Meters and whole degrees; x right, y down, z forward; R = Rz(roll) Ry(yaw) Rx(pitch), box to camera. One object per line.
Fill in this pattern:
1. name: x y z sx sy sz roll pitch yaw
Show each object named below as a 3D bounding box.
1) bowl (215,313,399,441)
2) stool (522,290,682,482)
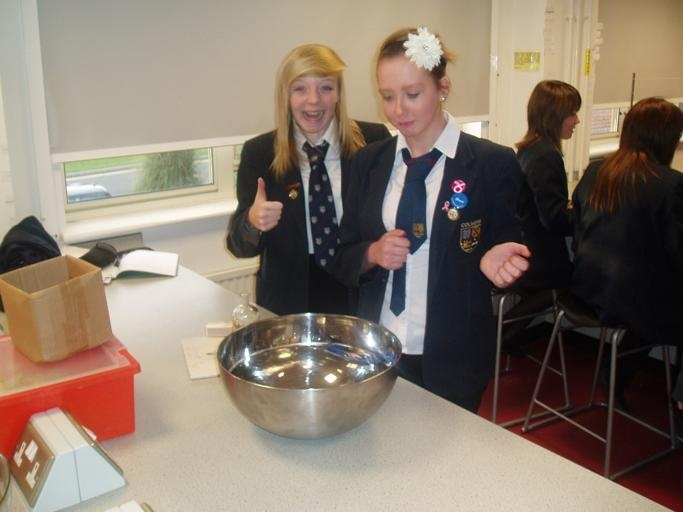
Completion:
1. bowl: -0.072 0.273 1.286 0.301 0.138 0.304 1 13 0
2. stool: 1.377 0.670 2.691 0.517 0.886 0.561 -14 19 -22
